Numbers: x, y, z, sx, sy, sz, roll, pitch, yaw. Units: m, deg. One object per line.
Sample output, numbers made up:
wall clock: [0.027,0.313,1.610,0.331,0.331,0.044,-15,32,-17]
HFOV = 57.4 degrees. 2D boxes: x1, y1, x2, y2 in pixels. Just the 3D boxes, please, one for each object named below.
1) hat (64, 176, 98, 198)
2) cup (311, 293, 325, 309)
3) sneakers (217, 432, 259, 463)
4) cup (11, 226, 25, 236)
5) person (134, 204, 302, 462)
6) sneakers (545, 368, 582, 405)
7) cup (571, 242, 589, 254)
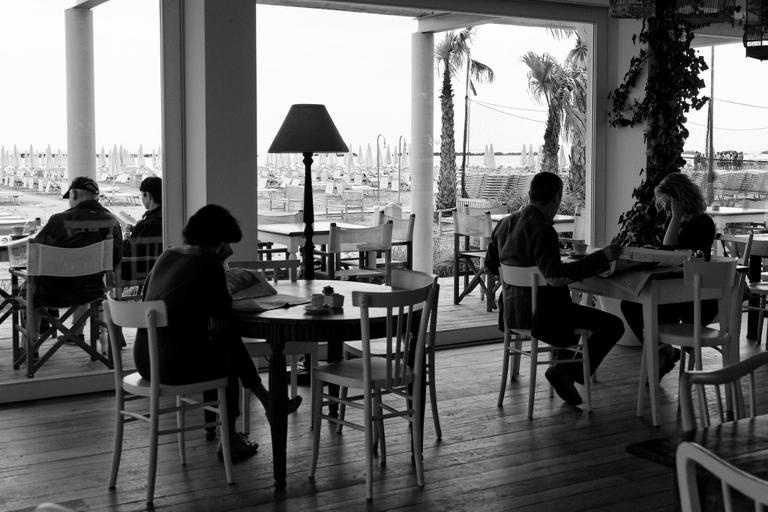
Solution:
hat: [-2.606,-0.592,6.012,0.232,0.136,0.172,6,6,12]
cup: [-0.426,0.287,4.356,0.083,0.067,0.066,-1,2,31]
sneakers: [-1.012,1.270,4.680,0.344,0.157,0.114,-3,7,-35]
cup: [-3.207,-0.216,6.126,0.080,0.059,0.072,0,8,0]
person: [-1.138,0.545,4.333,0.784,1.683,0.421,-4,11,-21]
sneakers: [1.423,1.043,5.577,0.085,0.208,0.202,-37,-5,37]
cup: [1.651,-0.061,5.915,0.111,0.098,0.137,1,0,-5]
